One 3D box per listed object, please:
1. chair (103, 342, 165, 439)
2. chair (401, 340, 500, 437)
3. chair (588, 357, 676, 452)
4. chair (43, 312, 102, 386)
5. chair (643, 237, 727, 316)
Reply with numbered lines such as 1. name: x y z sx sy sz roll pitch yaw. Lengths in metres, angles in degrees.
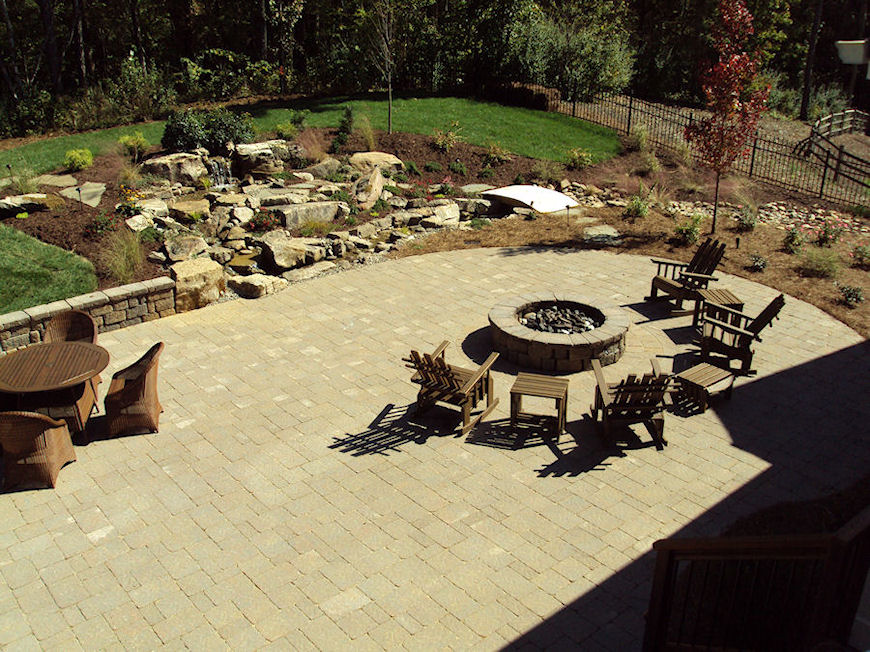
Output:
1. chair: -4.293 0.834 8.681 0.917 0.997 0.951 -13 23 -40
2. chair: 0.250 0.755 8.960 1.126 1.052 1.041 16 28 29
3. chair: 2.744 0.899 8.646 1.007 1.112 1.200 -6 28 -11
4. chair: -5.321 0.343 8.999 0.944 0.943 0.861 2 8 10
5. chair: 4.849 -0.980 11.983 1.272 1.157 0.945 -9 25 -22
